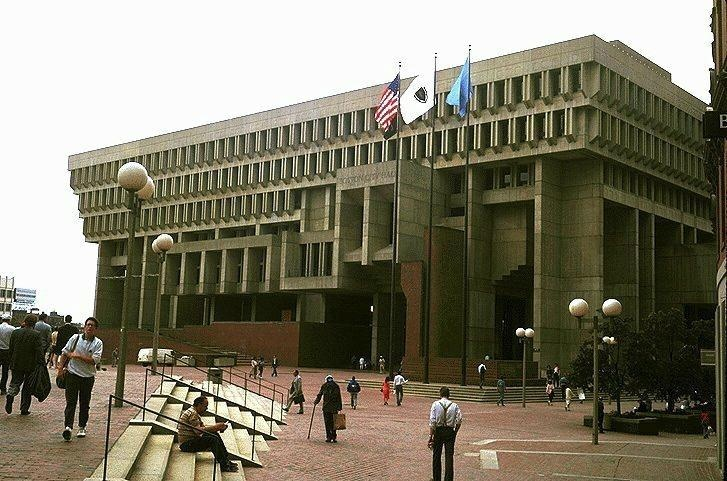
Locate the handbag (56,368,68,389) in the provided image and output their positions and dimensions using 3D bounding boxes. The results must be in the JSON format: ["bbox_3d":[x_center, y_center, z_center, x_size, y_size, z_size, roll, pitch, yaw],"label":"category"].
[{"bbox_3d":[-8.002,3.665,19.677,0.244,0.446,0.495,7,-13,-23],"label":"handbag"}]
